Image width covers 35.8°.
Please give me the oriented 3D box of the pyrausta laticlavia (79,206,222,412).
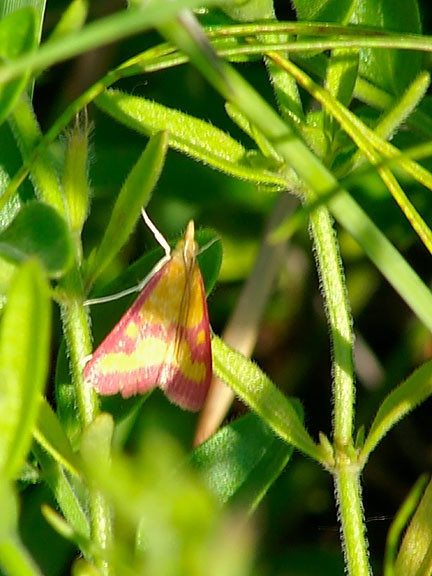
[{"bbox_3d":[-0.045,0.035,0.705,0.127,0.069,0.255,8,48,15],"label":"pyrausta laticlavia"}]
